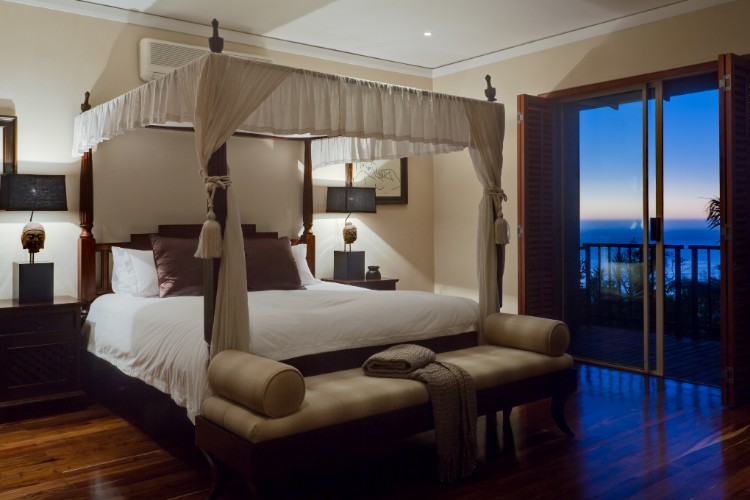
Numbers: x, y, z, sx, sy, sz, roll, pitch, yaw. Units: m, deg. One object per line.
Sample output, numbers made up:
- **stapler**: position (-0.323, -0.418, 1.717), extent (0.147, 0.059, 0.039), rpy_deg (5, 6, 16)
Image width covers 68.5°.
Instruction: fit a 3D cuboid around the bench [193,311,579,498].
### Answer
- **bench**: position (0.149, 1.190, 4.095), extent (2.790, 1.025, 0.711), rpy_deg (-4, 10, -25)
